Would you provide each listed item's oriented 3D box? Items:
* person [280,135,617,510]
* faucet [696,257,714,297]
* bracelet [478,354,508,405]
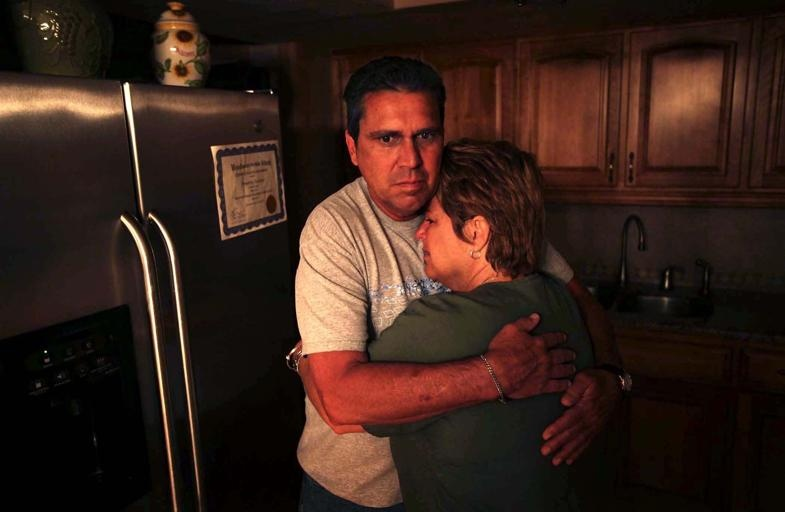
[{"bbox_3d":[0.274,0.325,1.923,0.769,1.368,0.427,5,13,19],"label":"person"},{"bbox_3d":[2.032,0.127,3.882,0.110,0.216,0.255,7,13,28],"label":"faucet"},{"bbox_3d":[0.312,0.377,1.808,0.028,0.115,0.112,-34,13,1],"label":"bracelet"}]
